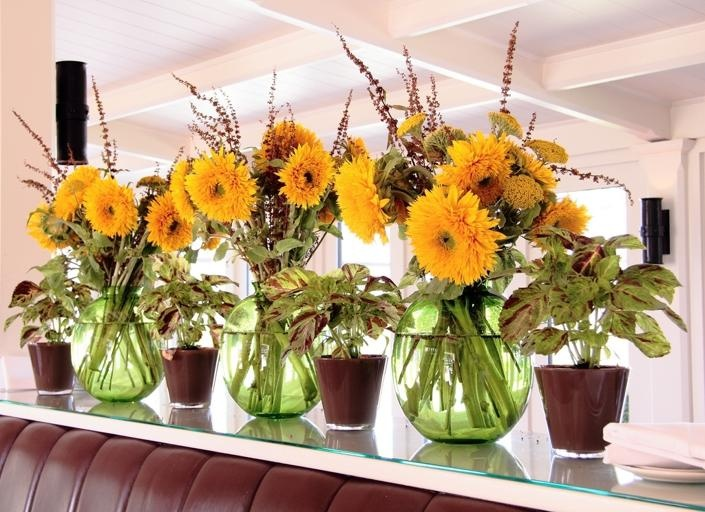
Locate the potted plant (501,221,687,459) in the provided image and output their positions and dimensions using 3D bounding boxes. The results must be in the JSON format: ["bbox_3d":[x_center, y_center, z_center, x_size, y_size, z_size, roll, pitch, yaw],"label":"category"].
[{"bbox_3d":[0.284,0.132,0.891,0.309,0.318,0.291,1,-11,2],"label":"potted plant"}]

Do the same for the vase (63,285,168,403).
[{"bbox_3d":[-0.480,0.214,1.318,0.236,0.325,0.237,1,-13,-11],"label":"vase"}]

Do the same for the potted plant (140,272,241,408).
[{"bbox_3d":[-0.332,0.202,1.391,0.290,0.334,0.249,6,-10,-43],"label":"potted plant"}]

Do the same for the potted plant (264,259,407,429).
[{"bbox_3d":[-0.030,0.152,1.053,0.304,0.325,0.255,4,-14,-20],"label":"potted plant"}]
